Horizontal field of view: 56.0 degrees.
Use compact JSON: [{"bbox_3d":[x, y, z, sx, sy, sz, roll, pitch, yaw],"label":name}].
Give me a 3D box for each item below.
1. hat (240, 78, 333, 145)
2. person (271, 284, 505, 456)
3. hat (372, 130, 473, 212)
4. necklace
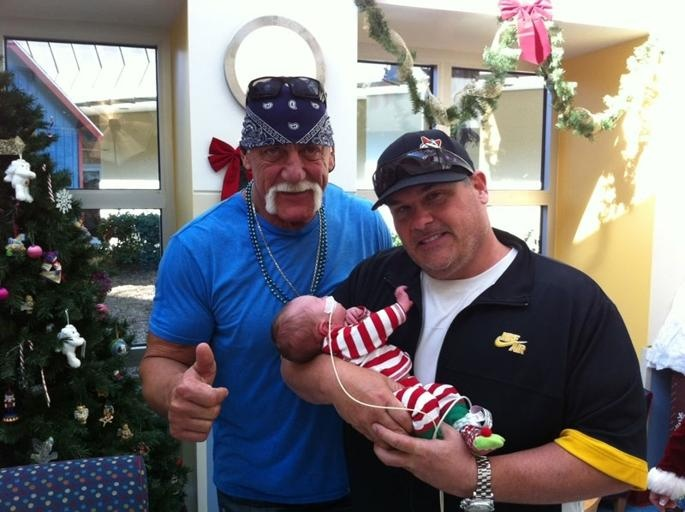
[{"bbox_3d":[-0.224,-0.572,2.704,0.313,0.310,0.215,2,29,-1],"label":"hat"},{"bbox_3d":[0.154,0.459,2.444,0.915,0.369,0.336,38,35,21],"label":"person"},{"bbox_3d":[0.329,-0.331,2.485,0.255,0.181,0.349,-32,-8,41],"label":"hat"},{"bbox_3d":[-0.268,-0.022,2.710,0.299,0.535,0.104,-10,-3,-10],"label":"necklace"}]
